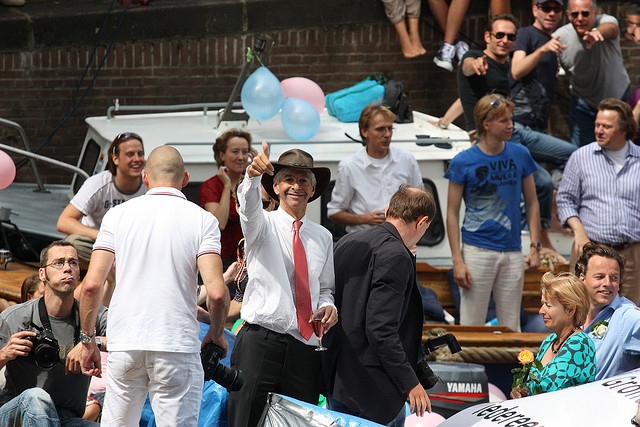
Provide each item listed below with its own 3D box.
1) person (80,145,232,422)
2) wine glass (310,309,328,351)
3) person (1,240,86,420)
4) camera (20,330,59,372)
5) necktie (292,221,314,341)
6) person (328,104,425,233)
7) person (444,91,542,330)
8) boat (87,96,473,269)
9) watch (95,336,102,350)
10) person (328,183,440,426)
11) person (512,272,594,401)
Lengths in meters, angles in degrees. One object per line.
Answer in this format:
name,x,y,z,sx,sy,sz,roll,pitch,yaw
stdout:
person,-1.496,0.629,8.877,1.308,2.272,0.493,-3,0,-9
wine glass,-0.017,1.076,9.111,0.146,0.367,0.211,-3,-1,-1
person,-2.667,1.127,9.417,0.785,1.541,0.471,-3,-1,-11
camera,-2.619,1.186,9.243,0.386,0.273,0.304,-12,27,-20
necktie,-0.168,0.613,9.138,0.148,1.050,0.199,-3,0,-7
person,0.679,-0.238,11.300,1.108,1.884,0.866,-2,7,-15
person,1.997,0.446,11.401,1.077,3.581,0.758,1,9,9
boat,-0.364,0.056,12.693,3.547,1.813,2.528,-3,18,-7
watch,-2.046,1.186,9.128,0.060,0.091,0.094,8,-13,-6
person,0.559,0.883,9.152,1.041,2.175,0.461,-3,-1,-1
person,2.188,1.138,9.282,0.709,1.205,0.490,-3,-1,15
